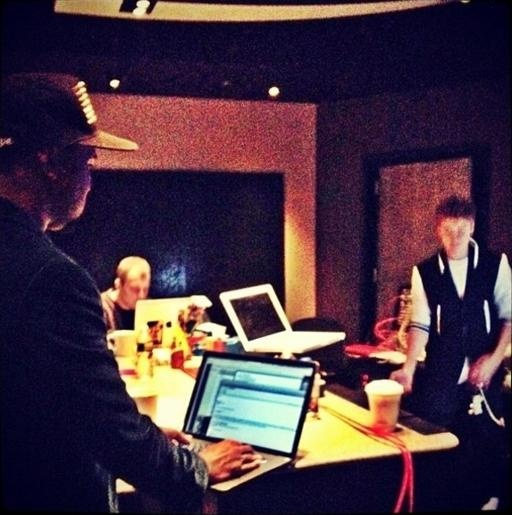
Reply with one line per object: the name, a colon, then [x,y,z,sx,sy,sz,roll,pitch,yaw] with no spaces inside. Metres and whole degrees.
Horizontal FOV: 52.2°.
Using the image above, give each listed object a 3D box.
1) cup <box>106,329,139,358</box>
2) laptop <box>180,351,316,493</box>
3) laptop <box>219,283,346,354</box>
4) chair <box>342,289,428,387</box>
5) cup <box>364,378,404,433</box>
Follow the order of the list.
cup: [-0.633,0.406,2.484,0.145,0.112,0.092,-4,-2,3]
laptop: [-0.027,0.492,1.752,0.378,0.251,0.353,3,3,31]
laptop: [0.082,0.256,2.240,0.369,0.258,0.368,-7,2,37]
chair: [0.602,0.374,2.563,0.353,0.451,0.396,3,-3,-22]
cup: [0.447,0.510,1.853,0.156,0.174,0.157,0,-4,0]
